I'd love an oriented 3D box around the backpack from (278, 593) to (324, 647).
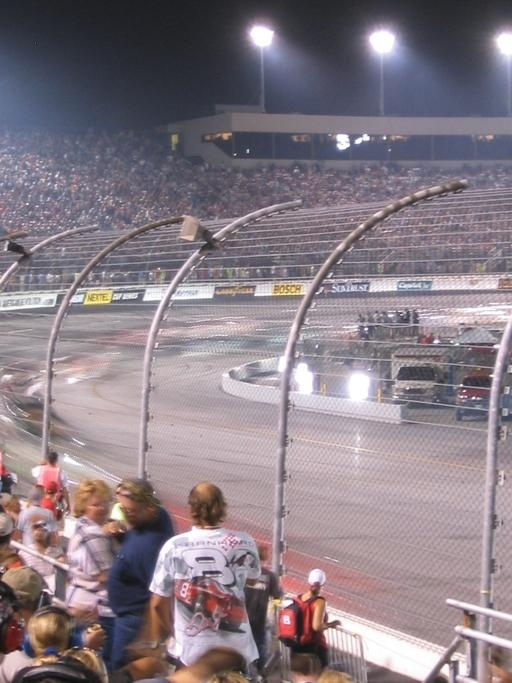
[{"bbox_3d":[0.200,1.253,3.040,0.196,0.188,0.145,19,-24,-37],"label":"backpack"}]
